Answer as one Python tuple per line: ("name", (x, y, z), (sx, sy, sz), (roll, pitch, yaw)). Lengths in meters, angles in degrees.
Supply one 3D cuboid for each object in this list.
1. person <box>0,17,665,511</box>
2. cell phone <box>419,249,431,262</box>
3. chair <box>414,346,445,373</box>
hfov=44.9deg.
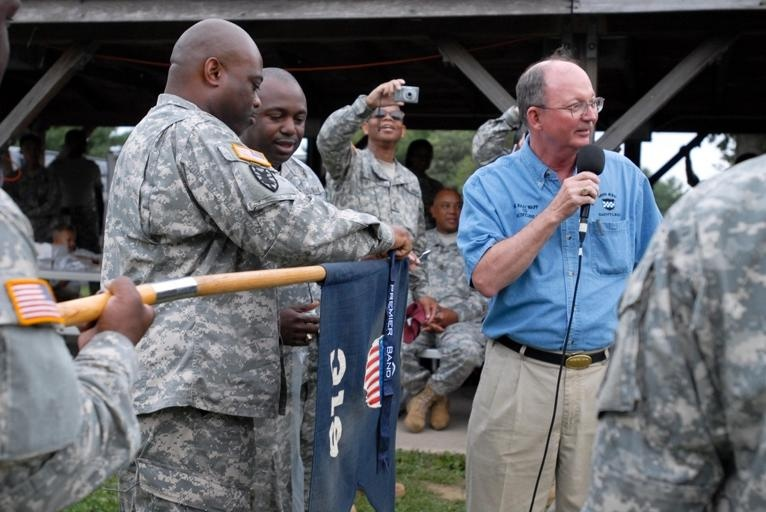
("person", (-0.488, 0.051, 3.532), (1.165, 1.972, 0.876), (3, 3, -14))
("cell phone", (0.280, -0.001, 6.227), (0.024, 0.040, 0.137), (16, -41, -28))
("chair", (0.367, 0.824, 7.352), (0.212, 0.222, 0.206), (0, -9, 1))
